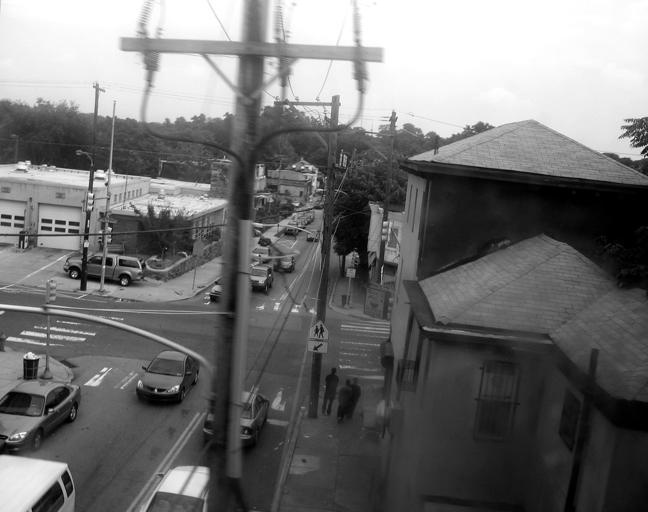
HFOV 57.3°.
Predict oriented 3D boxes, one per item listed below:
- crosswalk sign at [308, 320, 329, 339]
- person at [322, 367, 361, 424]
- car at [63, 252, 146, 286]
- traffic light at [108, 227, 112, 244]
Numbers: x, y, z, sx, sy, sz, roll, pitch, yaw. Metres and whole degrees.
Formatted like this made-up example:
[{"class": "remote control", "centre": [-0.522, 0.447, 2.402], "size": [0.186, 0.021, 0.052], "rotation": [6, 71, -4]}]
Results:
[{"class": "crosswalk sign", "centre": [-0.118, 1.809, 14.768], "size": [0.384, 0.464, 0.430], "rotation": [0, 2, 1]}, {"class": "person", "centre": [0.442, 3.717, 15.541], "size": [0.839, 1.239, 0.418], "rotation": [8, 16, 9]}, {"class": "car", "centre": [-10.446, 0.587, 28.443], "size": [3.289, 1.343, 1.607], "rotation": [7, 3, -4]}, {"class": "traffic light", "centre": [-11.143, -1.073, 31.073], "size": [0.319, 0.738, 2.682], "rotation": [-8, 4, -19]}]
